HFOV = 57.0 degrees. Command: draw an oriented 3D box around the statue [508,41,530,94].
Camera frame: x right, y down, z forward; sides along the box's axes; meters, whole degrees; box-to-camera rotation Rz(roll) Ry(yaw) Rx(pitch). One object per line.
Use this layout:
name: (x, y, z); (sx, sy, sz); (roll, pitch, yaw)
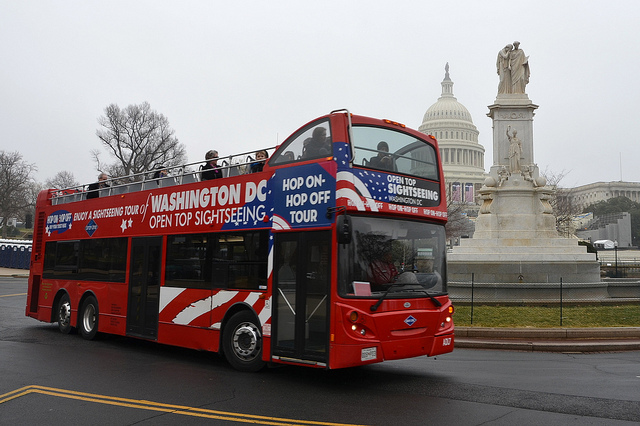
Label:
statue: (10.977, -8.035, 32.702); (1.036, 2.989, 0.821); (1, 1, 18)

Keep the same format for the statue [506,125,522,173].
statue: (10.491, -3.392, 31.828); (0.784, 2.465, 1.091); (1, 1, 17)

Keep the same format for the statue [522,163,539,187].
statue: (11.134, -1.959, 31.325); (0.727, 1.087, 0.545); (0, 1, 16)

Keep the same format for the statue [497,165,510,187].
statue: (9.805, -1.973, 31.491); (0.588, 1.103, 0.698); (0, 1, 9)

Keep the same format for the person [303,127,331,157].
person: (-0.033, -1.600, 13.174); (0.720, 0.638, 0.145); (1, 1, 41)
